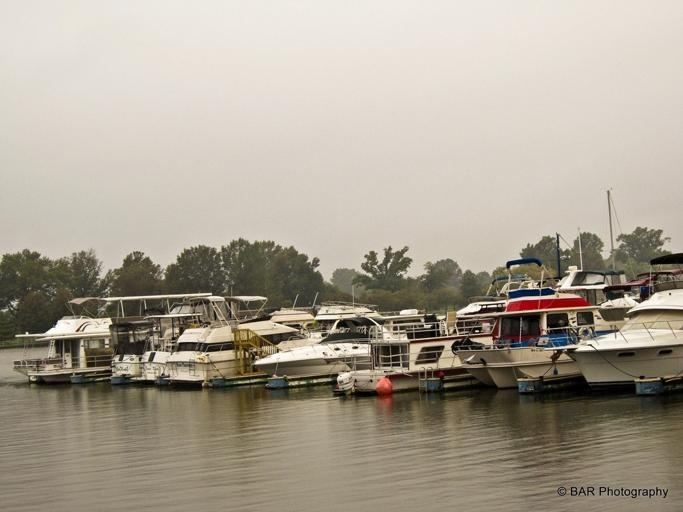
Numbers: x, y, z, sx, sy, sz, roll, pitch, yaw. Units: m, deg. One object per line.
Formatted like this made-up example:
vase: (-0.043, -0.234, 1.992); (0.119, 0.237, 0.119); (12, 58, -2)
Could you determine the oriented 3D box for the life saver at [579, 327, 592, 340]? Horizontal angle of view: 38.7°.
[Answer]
life saver: (10.265, 3.243, 40.491); (0.558, 0.470, 2.801); (-3, 3, 15)
